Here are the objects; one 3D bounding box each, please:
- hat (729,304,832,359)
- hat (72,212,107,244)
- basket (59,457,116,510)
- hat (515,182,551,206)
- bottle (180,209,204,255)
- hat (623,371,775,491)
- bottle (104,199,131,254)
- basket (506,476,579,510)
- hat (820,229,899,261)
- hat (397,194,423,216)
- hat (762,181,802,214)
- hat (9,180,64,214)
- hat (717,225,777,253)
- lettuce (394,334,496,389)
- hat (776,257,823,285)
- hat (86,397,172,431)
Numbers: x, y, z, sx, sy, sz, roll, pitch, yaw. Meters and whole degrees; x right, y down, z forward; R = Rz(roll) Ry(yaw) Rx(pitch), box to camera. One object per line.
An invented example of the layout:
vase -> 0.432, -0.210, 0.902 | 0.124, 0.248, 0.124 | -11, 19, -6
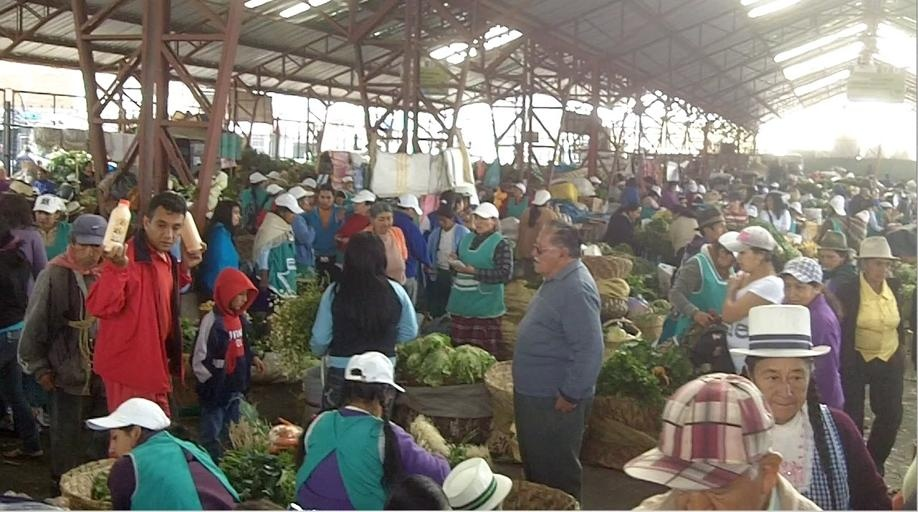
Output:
hat -> 3.447, 0.793, 8.423 | 0.725, 0.341, 0.684 | -3, -1, -37
hat -> -4.632, -0.330, 9.900 | 0.347, 0.249, 0.462 | 2, 1, -33
basket -> -4.404, 2.714, 9.325 | 0.540, 0.428, 0.582 | 0, 4, -25
hat -> 1.426, -1.278, 16.066 | 0.858, 0.530, 0.401 | 10, 8, 23
bottle -> -3.399, -0.304, 10.049 | 0.285, 0.537, 0.377 | 1, 4, -28
hat -> 2.485, 1.747, 8.065 | 1.429, 0.707, 0.981 | -16, 22, -19
bottle -> -4.187, -0.380, 9.636 | 0.279, 0.625, 0.317 | 1, 4, -27
basket -> 0.972, 2.905, 9.477 | 0.914, 0.341, 0.144 | 3, 3, 10
hat -> 5.589, -0.142, 11.036 | 0.591, 0.170, 0.603 | 10, -1, 7
hat -> -0.836, -0.916, 13.991 | 0.417, 0.226, 0.313 | 6, 12, -26
hat -> 8.009, -1.450, 19.507 | 0.433, 0.402, 1.117 | -30, -40, 30
hat -> -7.037, -0.989, 13.106 | 0.643, 0.168, 0.614 | 31, 3, 15
hat -> 3.782, -0.210, 10.276 | 0.609, 0.227, 0.414 | 2, 9, 10
lettuce -> -0.215, 1.457, 10.864 | 0.883, 0.294, 0.901 | 6, 18, -2
hat -> 4.322, 0.171, 9.967 | 0.437, 0.220, 0.309 | 18, -6, -27
hat -> -3.601, 1.774, 8.780 | 0.675, 0.240, 0.420 | 4, -9, -4
